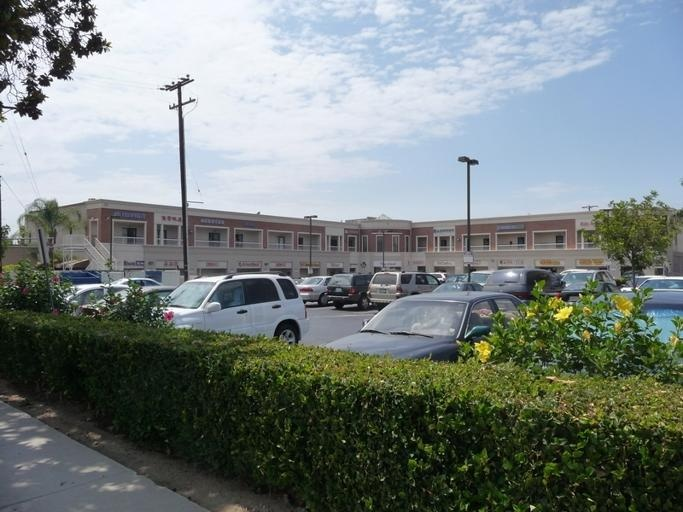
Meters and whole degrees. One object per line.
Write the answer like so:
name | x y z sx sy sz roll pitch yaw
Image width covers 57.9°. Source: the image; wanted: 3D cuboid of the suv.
suv | -1.996 1.037 12.218 2.683 1.122 1.437 11 -14 -43

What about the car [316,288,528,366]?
car | 1.293 0.971 8.606 1.113 0.771 2.432 -6 -10 40

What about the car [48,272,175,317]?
car | -5.423 0.860 14.183 1.925 0.617 0.861 3 -4 -11
